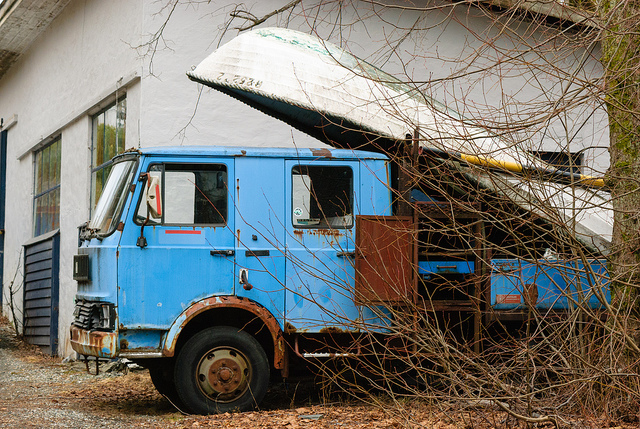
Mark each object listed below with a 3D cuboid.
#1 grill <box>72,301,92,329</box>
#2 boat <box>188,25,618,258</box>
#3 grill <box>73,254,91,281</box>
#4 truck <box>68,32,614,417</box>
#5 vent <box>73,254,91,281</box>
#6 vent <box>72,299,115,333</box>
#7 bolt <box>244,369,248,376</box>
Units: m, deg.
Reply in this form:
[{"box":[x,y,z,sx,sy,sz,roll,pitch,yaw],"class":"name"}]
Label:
[{"box":[-3.678,1.555,12.376,0.092,0.343,0.453,7,-5,-32],"class":"grill"},{"box":[1.139,-1.409,12.848,5.058,1.411,4.269,15,-8,-12],"class":"boat"},{"box":[-3.669,0.816,12.354,0.199,0.391,0.384,3,-7,-25],"class":"grill"},{"box":[0.792,0.230,14.940,10.867,6.036,4.844,3,-7,-31],"class":"truck"},{"box":[-3.777,0.817,12.390,0.409,0.401,0.216,0,-2,-38],"class":"vent"},{"box":[-3.539,1.558,12.403,0.405,0.427,1.031,1,-1,-38],"class":"vent"},{"box":[-1.142,2.417,12.258,0.078,0.109,0.026,-4,-1,-4],"class":"bolt"}]
